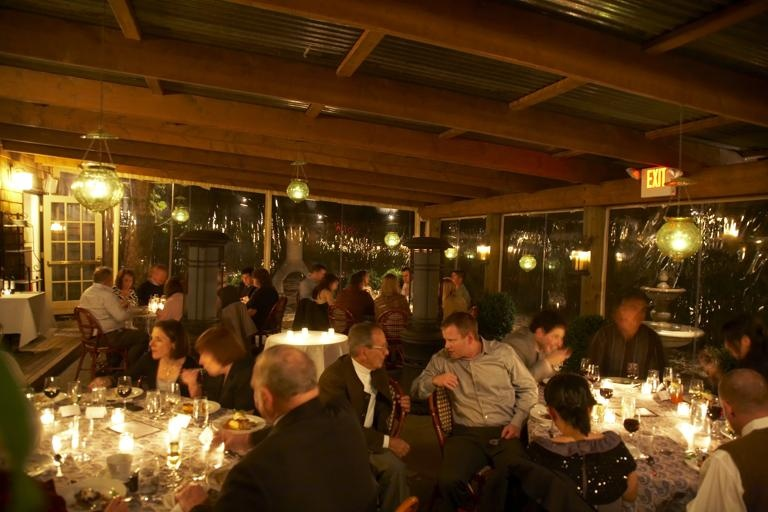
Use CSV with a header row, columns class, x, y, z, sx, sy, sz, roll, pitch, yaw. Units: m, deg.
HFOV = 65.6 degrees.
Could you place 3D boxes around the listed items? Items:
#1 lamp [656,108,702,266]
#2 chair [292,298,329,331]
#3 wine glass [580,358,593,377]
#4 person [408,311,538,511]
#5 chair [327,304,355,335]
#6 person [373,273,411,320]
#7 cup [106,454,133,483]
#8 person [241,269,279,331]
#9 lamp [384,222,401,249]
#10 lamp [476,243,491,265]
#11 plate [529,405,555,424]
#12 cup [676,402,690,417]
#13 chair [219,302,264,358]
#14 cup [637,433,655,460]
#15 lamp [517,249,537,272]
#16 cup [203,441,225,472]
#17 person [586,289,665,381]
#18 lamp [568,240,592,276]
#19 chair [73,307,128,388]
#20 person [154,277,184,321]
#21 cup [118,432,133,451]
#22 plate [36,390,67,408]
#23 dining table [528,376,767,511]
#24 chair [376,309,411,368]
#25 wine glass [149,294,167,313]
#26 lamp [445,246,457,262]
class,x,y,z,sx,sy,sz,roll,pitch,yaw
lamp,3.025,-0.777,6.103,0.431,1.643,0.405,2,7,36
chair,-1.102,0.903,9.149,0.556,0.475,0.557,1,0,-9
wine glass,1.899,1.035,5.488,0.134,0.140,0.146,2,-7,-15
person,0.769,1.421,5.255,1.081,1.830,0.928,-16,-37,27
chair,-0.617,0.935,8.906,0.377,0.600,0.414,4,6,31
person,0.118,0.683,9.245,0.563,0.840,0.507,-6,4,-27
cup,-1.724,1.390,3.917,0.163,0.134,0.153,-2,-2,0
person,-2.029,0.798,9.469,0.643,1.238,0.591,5,10,1
lamp,0.200,-0.521,14.322,0.518,0.678,0.514,0,1,-15
lamp,1.930,-0.071,11.511,0.295,0.333,0.294,-1,4,-5
plate,1.346,1.347,5.073,0.206,0.151,0.204,0,-4,-17
cup,2.585,1.340,5.162,0.104,0.100,0.105,-1,-9,0
chair,-2.002,0.991,8.023,0.585,0.732,0.373,-6,18,-20
cup,2.013,1.483,4.639,0.150,0.250,0.159,0,-3,0
lamp,2.557,0.108,10.719,0.326,0.363,0.324,3,2,-6
cup,-1.181,1.429,4.189,0.121,0.128,0.128,-1,-3,0
person,2.497,0.814,6.143,0.737,0.915,0.315,1,1,13
lamp,2.957,0.030,9.258,0.422,0.623,0.466,0,0,9
chair,-3.700,1.184,7.829,0.567,0.963,0.643,4,-1,33
person,-2.811,0.559,7.870,0.324,0.557,1.290,1,-1,-20
cup,-1.850,1.353,4.324,0.117,0.117,0.118,0,-1,0
plate,-2.728,1.185,4.894,0.221,0.055,0.222,1,-4,0
dining table,1.703,1.387,4.180,1.182,1.052,0.982,-9,1,11
chair,0.151,1.263,9.076,0.529,0.938,0.616,1,3,-1
wine glass,-3.240,0.691,8.567,0.225,0.257,0.230,-7,-10,34
lamp,1.417,-0.053,13.234,0.374,0.387,0.393,0,-4,-6
